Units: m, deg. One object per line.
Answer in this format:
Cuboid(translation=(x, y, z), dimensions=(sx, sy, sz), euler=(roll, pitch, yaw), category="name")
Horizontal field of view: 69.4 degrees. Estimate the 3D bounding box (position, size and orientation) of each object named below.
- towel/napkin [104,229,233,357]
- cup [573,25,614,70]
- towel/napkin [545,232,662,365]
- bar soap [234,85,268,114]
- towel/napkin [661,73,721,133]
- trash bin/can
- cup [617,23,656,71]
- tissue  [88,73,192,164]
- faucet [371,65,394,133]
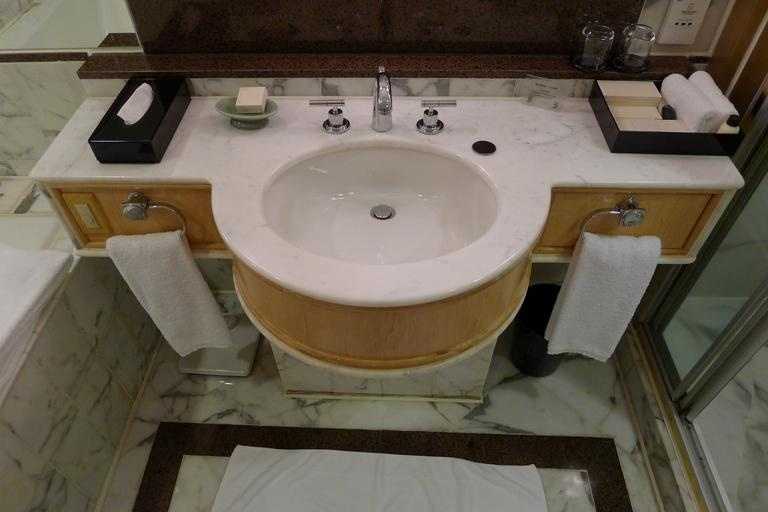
Cuboid(translation=(-0.750, 0.146, 1.982), dimensions=(0.302, 0.501, 0.142), euler=(-7, 46, -4), category="towel/napkin")
Cuboid(translation=(0.730, -0.729, 1.940), dimensions=(0.108, 0.122, 0.120), euler=(12, 48, 13), category="cup")
Cuboid(translation=(0.741, 0.138, 1.946), dimensions=(0.301, 0.490, 0.127), euler=(5, 43, 2), category="towel/napkin")
Cuboid(translation=(-0.456, -0.543, 1.919), dimensions=(0.100, 0.067, 0.134), euler=(-3, 46, -1), category="bar soap")
Cuboid(translation=(1.004, -0.503, 1.837), dimensions=(0.091, 0.080, 0.258), euler=(-11, 47, -9), category="towel/napkin")
Cuboid(translation=(0.604, 0.281, 2.183), dimensions=(0.215, 0.311, 0.240), euler=(-8, 51, -5), category="trash bin/can")
Cuboid(translation=(0.873, -0.726, 1.937), dimensions=(0.105, 0.118, 0.124), euler=(15, 48, 16), category="cup")
Cuboid(translation=(-0.822, -0.469, 1.887), dimensions=(0.227, 0.130, 0.358), euler=(2, 46, 4), category="tissue ")
Cuboid(translation=(-0.011, -0.524, 1.861), dimensions=(0.069, 0.185, 0.118), euler=(-2, 46, 0), category="faucet")
